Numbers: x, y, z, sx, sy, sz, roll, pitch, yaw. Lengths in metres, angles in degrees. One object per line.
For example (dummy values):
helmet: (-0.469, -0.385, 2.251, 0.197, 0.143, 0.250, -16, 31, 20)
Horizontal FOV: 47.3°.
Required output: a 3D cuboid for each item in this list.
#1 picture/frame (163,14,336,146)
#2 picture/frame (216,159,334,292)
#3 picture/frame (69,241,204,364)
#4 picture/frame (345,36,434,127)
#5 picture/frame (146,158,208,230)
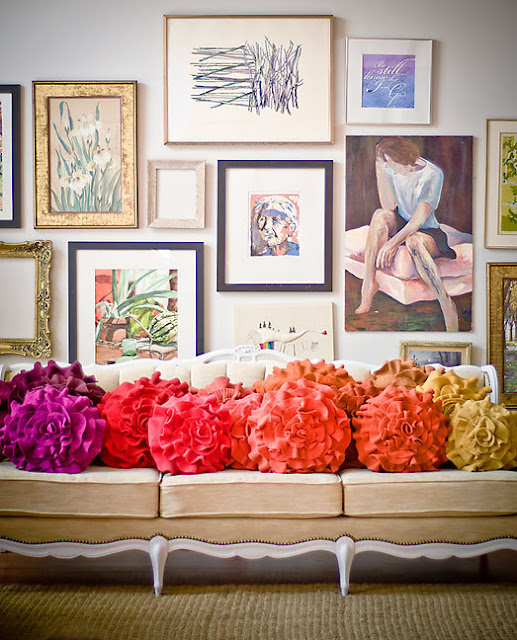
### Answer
picture/frame: (-0.058, -1.268, 3.084, 0.755, 0.509, 0.025, 0, -1, -3)
picture/frame: (0.081, -0.507, 3.129, 0.779, 0.784, 0.040, 0, 1, 1)
picture/frame: (-0.663, -0.103, 3.117, 0.716, 0.724, 0.035, 0, 0, -3)
picture/frame: (0.681, -1.274, 3.103, 0.519, 0.450, 0.020, 0, 4, -2)
picture/frame: (-0.430, -0.678, 3.112, 0.418, 0.435, 0.020, 0, 0, -1)
